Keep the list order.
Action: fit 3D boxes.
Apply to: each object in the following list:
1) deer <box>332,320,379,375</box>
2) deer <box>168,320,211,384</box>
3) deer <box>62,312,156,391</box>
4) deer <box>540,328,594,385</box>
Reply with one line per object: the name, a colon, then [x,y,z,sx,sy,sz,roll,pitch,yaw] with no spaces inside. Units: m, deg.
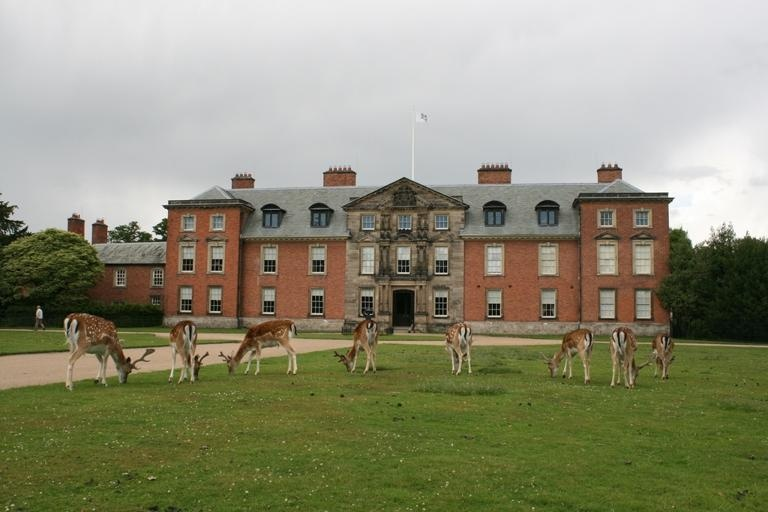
deer: [-1.011,3.997,37.107,1.329,2.301,3.993,-1,-5,-2]
deer: [-8.273,3.728,33.945,1.531,2.861,3.954,1,-13,-23]
deer: [-11.392,3.759,33.927,1.795,3.985,5.917,-1,-8,20]
deer: [7.829,4.341,34.976,0.862,2.080,2.988,11,-18,-21]
